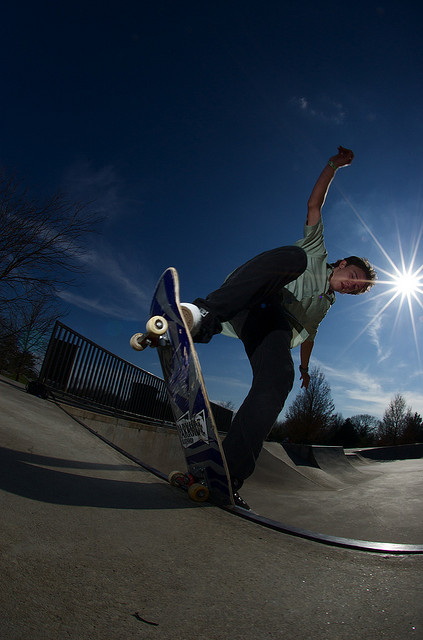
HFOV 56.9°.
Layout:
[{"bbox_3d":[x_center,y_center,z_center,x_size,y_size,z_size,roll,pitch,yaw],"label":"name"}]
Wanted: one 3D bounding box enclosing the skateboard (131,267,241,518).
[{"bbox_3d":[-0.112,0.369,1.865,0.239,1.361,0.326,-7,-8,-35],"label":"skateboard"}]
